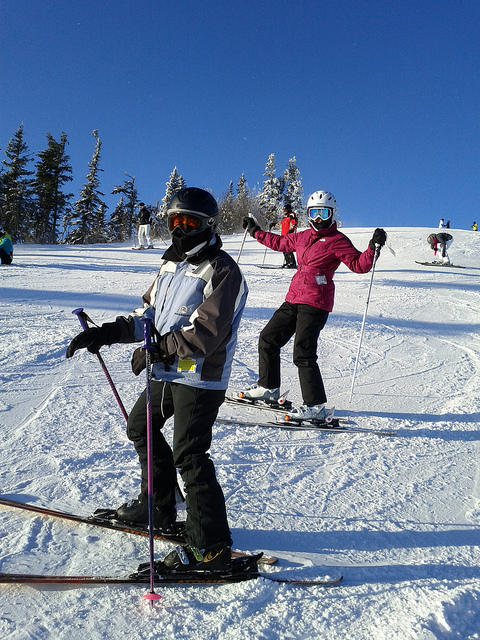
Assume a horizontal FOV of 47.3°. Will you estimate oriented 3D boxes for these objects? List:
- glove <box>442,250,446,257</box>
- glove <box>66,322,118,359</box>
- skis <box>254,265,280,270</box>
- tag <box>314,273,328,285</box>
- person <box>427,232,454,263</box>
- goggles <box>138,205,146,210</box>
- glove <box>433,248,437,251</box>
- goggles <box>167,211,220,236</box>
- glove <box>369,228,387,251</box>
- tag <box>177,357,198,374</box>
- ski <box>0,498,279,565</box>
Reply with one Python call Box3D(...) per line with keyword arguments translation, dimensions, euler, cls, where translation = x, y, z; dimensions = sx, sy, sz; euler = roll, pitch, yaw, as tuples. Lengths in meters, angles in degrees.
Box3D(translation=(6.178, -2.025, 16.648), dimensions=(0.077, 0.207, 0.186), euler=(9, 9, 23), cls="glove")
Box3D(translation=(-0.679, 0.089, 2.516), dimensions=(0.127, 0.147, 0.292), euler=(12, 10, 36), cls="glove")
Box3D(translation=(0.769, -1.425, 15.031), dimensions=(0.656, 0.069, 0.190), euler=(2, -4, 28), cls="skis")
Box3D(translation=(0.622, -0.317, 4.252), dimensions=(0.093, 0.110, 0.015), euler=(-3, -28, -5), cls="tag")
Box3D(translation=(6.472, -2.353, 17.868), dimensions=(0.646, 0.956, 2.926), euler=(8, 8, 17), cls="person")
Box3D(translation=(-2.486, -2.860, 13.885), dimensions=(0.121, 0.079, 0.310), euler=(4, 8, -12), cls="goggles")
Box3D(translation=(6.330, -2.308, 17.799), dimensions=(0.121, 0.110, 0.028), euler=(6, 6, -3), cls="glove")
Box3D(translation=(-0.219, -0.444, 2.528), dimensions=(0.236, 0.114, 0.173), euler=(5, 8, -7), cls="goggles")
Box3D(translation=(1.081, -0.638, 4.256), dimensions=(0.129, 0.177, 0.165), euler=(13, 31, 30), cls="glove")
Box3D(translation=(-0.226, 0.197, 2.394), dimensions=(0.086, 0.074, 0.011), euler=(0, -4, 8), cls="tag")
Box3D(translation=(-0.513, 0.993, 2.548), dimensions=(1.500, 0.106, 0.152), euler=(10, -1, 16), cls="ski")
